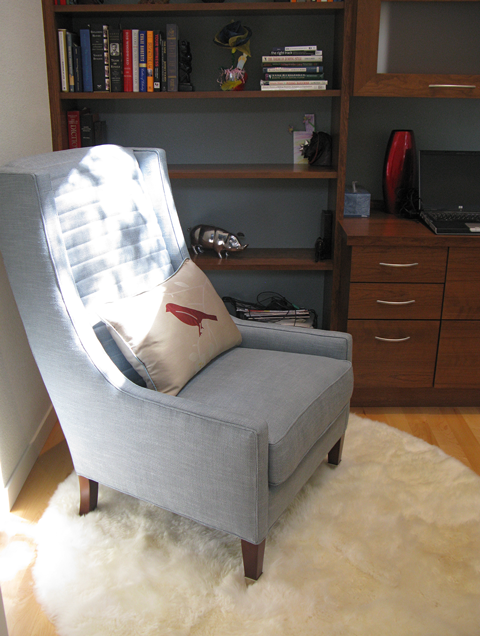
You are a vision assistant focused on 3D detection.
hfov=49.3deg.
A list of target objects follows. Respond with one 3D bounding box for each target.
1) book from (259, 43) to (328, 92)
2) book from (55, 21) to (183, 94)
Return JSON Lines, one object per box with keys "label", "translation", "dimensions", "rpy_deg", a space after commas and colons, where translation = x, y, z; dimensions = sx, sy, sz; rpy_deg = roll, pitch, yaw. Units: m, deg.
{"label": "book", "translation": [0.215, -0.992, 2.096], "dimensions": [0.257, 0.159, 0.082], "rpy_deg": [1, 26, 6]}
{"label": "book", "translation": [-0.470, -1.055, 2.137], "dimensions": [0.526, 0.247, 0.125], "rpy_deg": [-2, 25, -1]}
